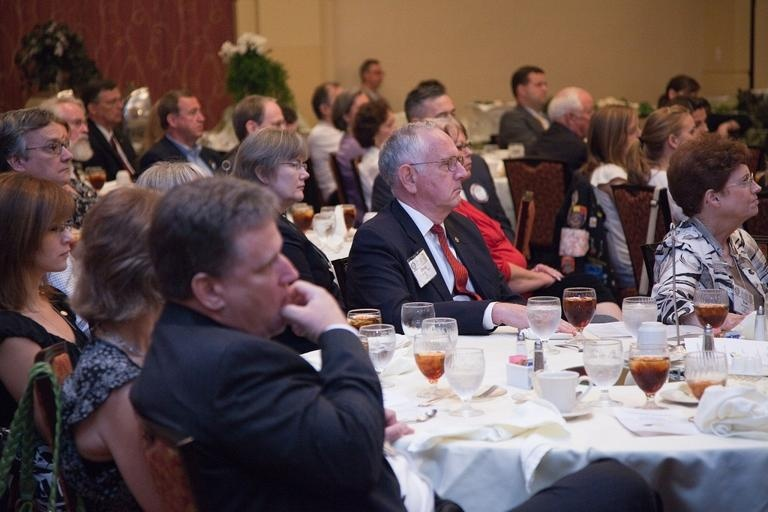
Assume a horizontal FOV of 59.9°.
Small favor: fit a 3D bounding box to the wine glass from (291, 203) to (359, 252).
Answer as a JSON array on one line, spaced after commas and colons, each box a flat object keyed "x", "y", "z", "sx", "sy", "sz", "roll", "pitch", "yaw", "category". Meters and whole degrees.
[{"x": -0.356, "y": -0.168, "z": 4.455, "sx": 0.333, "sy": 0.270, "sz": 0.354, "roll": -3, "pitch": 3, "yaw": -26, "category": "wine glass"}]

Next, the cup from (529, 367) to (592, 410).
[{"x": 0.499, "y": 0.385, "z": 1.906, "sx": 0.126, "sy": 0.096, "sz": 0.088, "roll": -1, "pitch": -3, "yaw": -6, "category": "cup"}]

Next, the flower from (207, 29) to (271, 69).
[{"x": -1.579, "y": -2.267, "z": 7.118, "sx": 0.625, "sy": 0.576, "sz": 0.384, "roll": -3, "pitch": 5, "yaw": 1, "category": "flower"}]

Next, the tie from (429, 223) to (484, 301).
[{"x": 0.335, "y": 0.055, "z": 3.225, "sx": 0.135, "sy": 0.515, "sz": 0.122, "roll": -27, "pitch": -17, "yaw": 15, "category": "tie"}]
